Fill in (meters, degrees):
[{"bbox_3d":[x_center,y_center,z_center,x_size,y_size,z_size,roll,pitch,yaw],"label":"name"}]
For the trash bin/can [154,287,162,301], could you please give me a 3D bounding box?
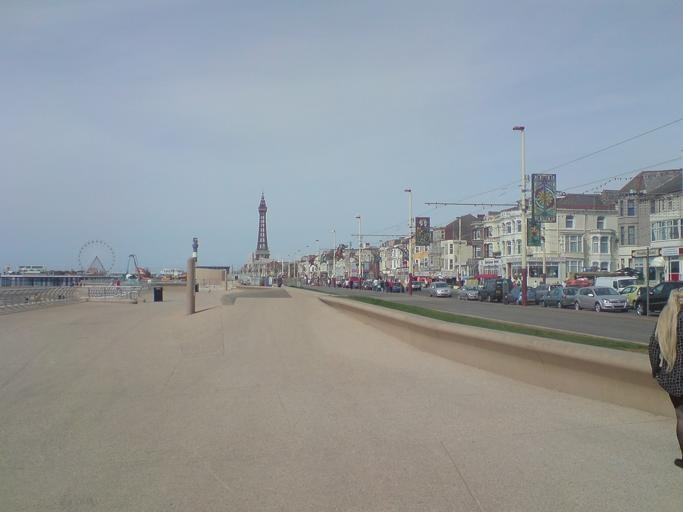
[{"bbox_3d":[-12.668,2.657,43.180,0.480,0.832,1.158,-1,3,-10],"label":"trash bin/can"}]
